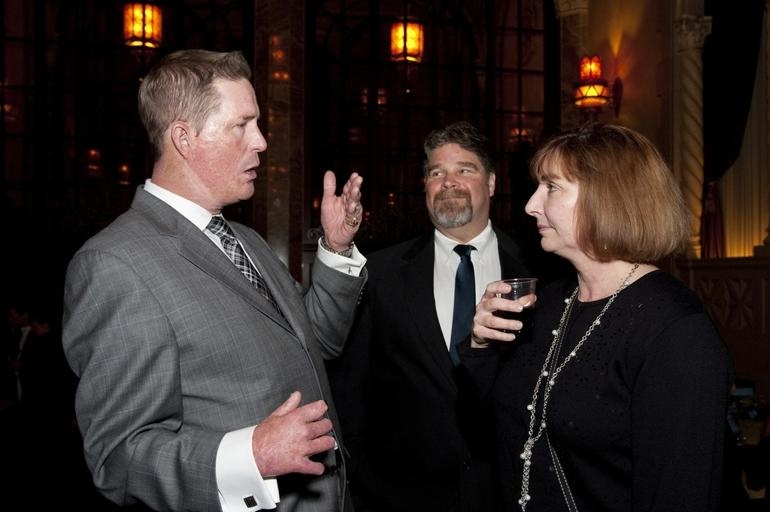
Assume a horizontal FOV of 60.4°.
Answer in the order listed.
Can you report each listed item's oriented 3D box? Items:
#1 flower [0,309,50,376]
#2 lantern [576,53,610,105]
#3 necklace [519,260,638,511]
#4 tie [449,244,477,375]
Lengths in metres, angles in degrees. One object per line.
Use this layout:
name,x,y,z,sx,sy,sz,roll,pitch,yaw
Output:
flower,-2.903,0.705,5.368,0.283,0.486,0.302,-39,-46,20
lantern,2.031,-1.693,6.375,0.439,0.502,0.203,-6,7,-32
necklace,0.742,0.496,2.861,0.408,1.181,0.050,22,-4,14
tie,0.427,0.276,3.589,0.122,0.670,0.114,0,-21,13
